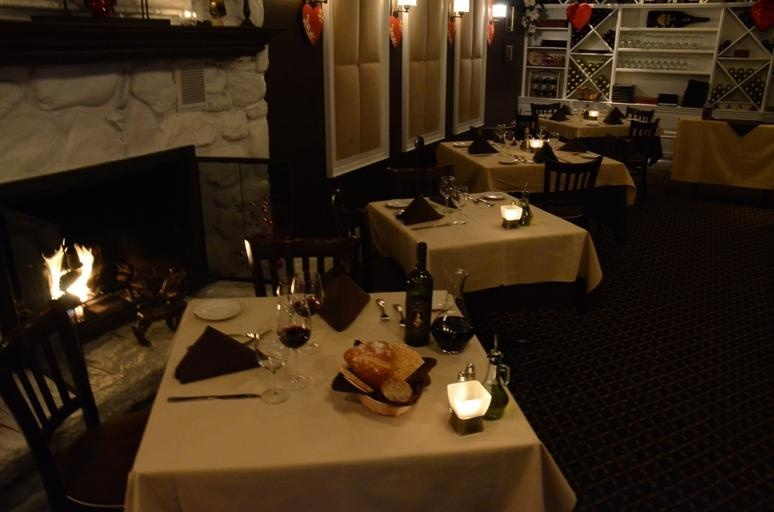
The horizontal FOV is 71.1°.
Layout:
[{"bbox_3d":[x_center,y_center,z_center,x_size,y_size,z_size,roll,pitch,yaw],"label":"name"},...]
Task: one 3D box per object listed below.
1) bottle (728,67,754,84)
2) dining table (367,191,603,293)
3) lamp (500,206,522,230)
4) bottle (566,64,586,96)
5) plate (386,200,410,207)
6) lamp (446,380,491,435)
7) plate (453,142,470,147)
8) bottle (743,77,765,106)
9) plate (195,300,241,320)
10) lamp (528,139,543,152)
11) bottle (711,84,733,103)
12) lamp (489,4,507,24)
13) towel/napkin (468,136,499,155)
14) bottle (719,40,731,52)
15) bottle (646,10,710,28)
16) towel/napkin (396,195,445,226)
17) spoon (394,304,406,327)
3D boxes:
[{"bbox_3d":[5.868,-3.010,8.972,0.265,0.285,0.070,11,-1,31],"label":"bottle"},{"bbox_3d":[0.686,-0.081,4.008,1.422,0.517,1.035,-8,24,-13],"label":"dining table"},{"bbox_3d":[0.863,-0.278,3.833,0.148,0.144,0.153,-5,9,-22],"label":"lamp"},{"bbox_3d":[3.611,-3.367,10.368,0.339,0.519,0.135,5,7,25],"label":"bottle"},{"bbox_3d":[0.089,-0.404,4.188,0.112,0.018,0.087,0,23,3],"label":"plate"},{"bbox_3d":[0.305,0.567,2.189,0.186,0.226,0.179,-4,11,-17],"label":"lamp"},{"bbox_3d":[0.884,-1.320,6.412,0.113,0.020,0.119,3,25,7],"label":"plate"},{"bbox_3d":[6.035,-2.687,8.909,0.331,0.414,0.140,17,29,38],"label":"bottle"},{"bbox_3d":[-0.849,0.269,2.718,0.121,0.014,0.127,5,29,1],"label":"plate"},{"bbox_3d":[1.678,-1.202,6.067,0.148,0.120,0.156,-7,29,-4],"label":"lamp"},{"bbox_3d":[5.666,-2.743,9.128,0.314,0.303,0.187,8,24,22],"label":"bottle"},{"bbox_3d":[1.932,-4.175,9.275,0.201,0.313,1.123,5,25,17],"label":"lamp"},{"bbox_3d":[1.038,-1.192,5.974,0.233,0.115,0.245,-2,23,-4],"label":"towel/napkin"},{"bbox_3d":[5.643,-3.491,9.001,0.156,0.169,0.148,-2,23,1],"label":"bottle"},{"bbox_3d":[5.024,-4.028,9.208,0.532,0.186,0.189,6,63,19],"label":"bottle"},{"bbox_3d":[0.225,-0.359,3.904,0.203,0.099,0.273,-5,17,-9],"label":"towel/napkin"},{"bbox_3d":[0.071,0.290,2.677,0.027,0.020,0.138,-6,23,-6],"label":"spoon"}]
